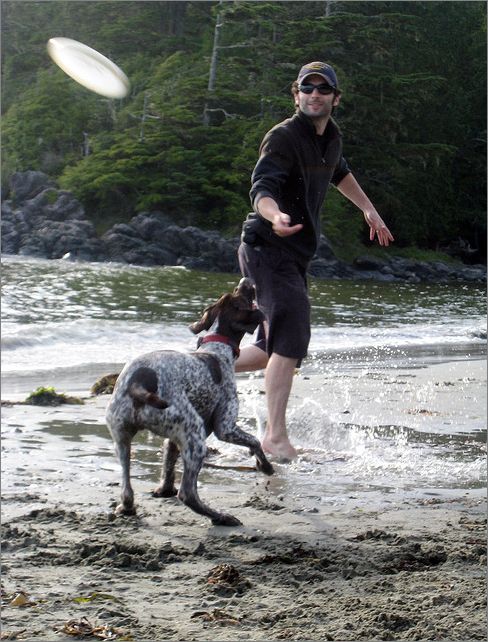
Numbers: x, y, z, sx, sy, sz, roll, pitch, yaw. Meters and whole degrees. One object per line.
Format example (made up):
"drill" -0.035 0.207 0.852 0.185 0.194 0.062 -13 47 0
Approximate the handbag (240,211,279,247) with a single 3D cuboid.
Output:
"handbag" 0.100 -0.481 4.328 0.208 0.164 0.093 9 13 38

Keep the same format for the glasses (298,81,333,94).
"glasses" 0.383 -1.198 4.247 0.172 0.058 0.055 2 3 -3

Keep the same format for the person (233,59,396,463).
"person" 0.313 -0.364 4.290 0.750 2.143 1.496 3 3 12

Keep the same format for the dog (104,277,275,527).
"dog" -0.223 0.351 3.560 0.597 0.902 1.390 1 4 20

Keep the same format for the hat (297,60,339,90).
"hat" 0.405 -1.292 4.315 0.163 0.093 0.205 8 -7 8
